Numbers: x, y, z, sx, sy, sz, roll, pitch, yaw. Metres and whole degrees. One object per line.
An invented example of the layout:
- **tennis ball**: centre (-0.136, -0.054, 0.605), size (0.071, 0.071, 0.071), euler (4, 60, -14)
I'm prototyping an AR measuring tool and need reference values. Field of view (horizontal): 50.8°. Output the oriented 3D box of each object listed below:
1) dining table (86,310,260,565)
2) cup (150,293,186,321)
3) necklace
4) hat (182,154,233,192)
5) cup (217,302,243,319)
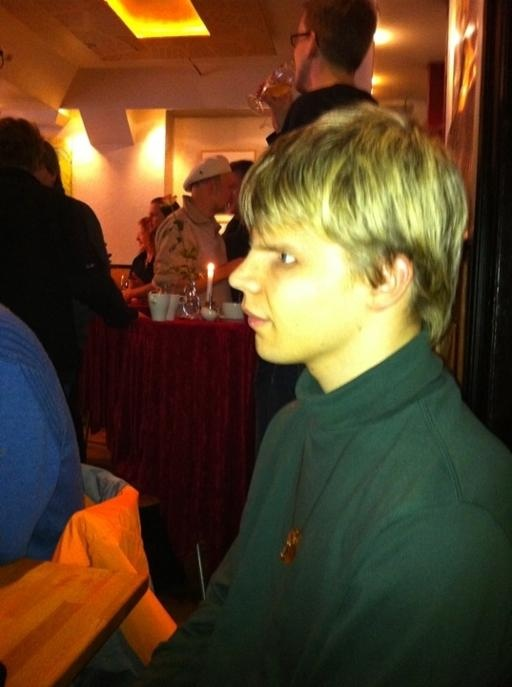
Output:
- **dining table**: centre (-0.285, 0.302, 2.387), size (0.690, 0.948, 0.726), euler (2, 17, -7)
- **cup**: centre (-0.373, -0.150, 2.249), size (0.130, 0.097, 0.093), euler (1, -3, -9)
- **necklace**: centre (0.077, 0.166, 0.605), size (0.032, 0.141, 0.093), euler (29, -15, -28)
- **hat**: centre (-0.270, -0.928, 2.950), size (0.225, 0.095, 0.163), euler (-32, 11, -3)
- **cup**: centre (-0.106, -0.139, 2.300), size (0.081, 0.067, 0.079), euler (3, 7, 0)
